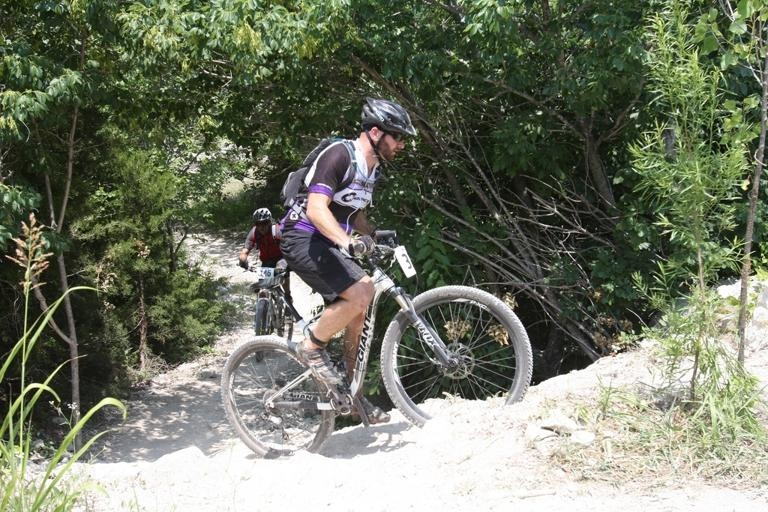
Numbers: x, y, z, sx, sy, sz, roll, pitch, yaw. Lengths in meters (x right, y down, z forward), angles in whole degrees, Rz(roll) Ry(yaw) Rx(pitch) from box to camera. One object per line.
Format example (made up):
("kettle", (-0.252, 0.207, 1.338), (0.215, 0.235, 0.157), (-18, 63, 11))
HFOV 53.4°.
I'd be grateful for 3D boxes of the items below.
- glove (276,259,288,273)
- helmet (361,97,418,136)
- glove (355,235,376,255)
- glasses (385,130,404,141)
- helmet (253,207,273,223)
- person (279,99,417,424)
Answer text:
("glove", (-1.171, 0.124, 8.965), (0.144, 0.184, 0.617), (-5, -1, -6))
("helmet", (0.056, -1.177, 6.537), (0.548, 0.278, 0.376), (25, 24, 29))
("glove", (-0.145, -0.086, 6.241), (0.083, 0.118, 0.245), (-10, -4, 35))
("glasses", (0.080, -1.026, 6.454), (0.103, 0.032, 0.079), (30, -7, 36))
("helmet", (-1.595, -0.545, 10.109), (0.193, 0.156, 0.284), (-1, -2, 0))
("person", (-0.364, 0.071, 6.699), (1.134, 2.857, 0.993), (8, 9, 30))
